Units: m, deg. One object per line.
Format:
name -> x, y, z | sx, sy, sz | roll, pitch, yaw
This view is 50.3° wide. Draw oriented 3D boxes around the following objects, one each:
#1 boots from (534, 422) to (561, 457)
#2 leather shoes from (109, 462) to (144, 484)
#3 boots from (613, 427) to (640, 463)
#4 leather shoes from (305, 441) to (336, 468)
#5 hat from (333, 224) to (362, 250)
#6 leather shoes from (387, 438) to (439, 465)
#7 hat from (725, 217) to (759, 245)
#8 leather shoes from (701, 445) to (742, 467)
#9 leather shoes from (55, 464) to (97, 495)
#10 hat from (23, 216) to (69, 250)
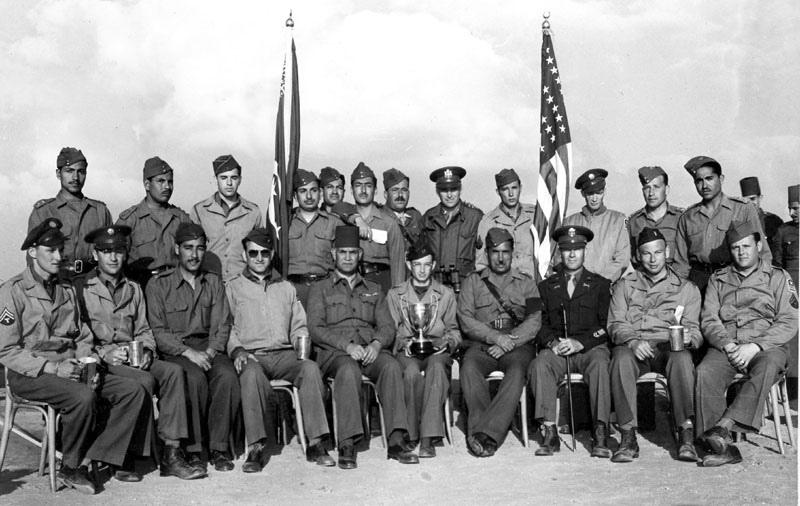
boots -> 1.622, 2.048, 9.352 | 0.157, 0.329, 0.415 | -3, 1, 38
leather shoes -> -2.842, 2.274, 8.821 | 0.395, 0.194, 0.140 | 1, 2, 25
boots -> 2.436, 2.060, 9.149 | 0.195, 0.347, 0.441 | -6, -1, 41
leather shoes -> -0.847, 2.164, 9.143 | 0.155, 0.199, 0.427 | -1, 0, -35
hat -> -0.607, -0.188, 9.834 | 0.251, 0.269, 0.257 | 5, 8, 27
leather shoes -> 0.089, 2.138, 9.238 | 0.354, 0.156, 0.283 | -7, -9, 42
hat -> 3.905, -0.238, 9.694 | 0.336, 0.309, 0.249 | 4, 2, 27
leather shoes -> 3.450, 2.154, 9.047 | 0.521, 0.246, 0.183 | 0, -2, -8
leather shoes -> -3.227, 2.259, 8.524 | 0.441, 0.245, 0.183 | 6, 12, 33
hat -> -3.696, -0.184, 8.935 | 0.512, 0.270, 0.444 | -14, 6, 43
